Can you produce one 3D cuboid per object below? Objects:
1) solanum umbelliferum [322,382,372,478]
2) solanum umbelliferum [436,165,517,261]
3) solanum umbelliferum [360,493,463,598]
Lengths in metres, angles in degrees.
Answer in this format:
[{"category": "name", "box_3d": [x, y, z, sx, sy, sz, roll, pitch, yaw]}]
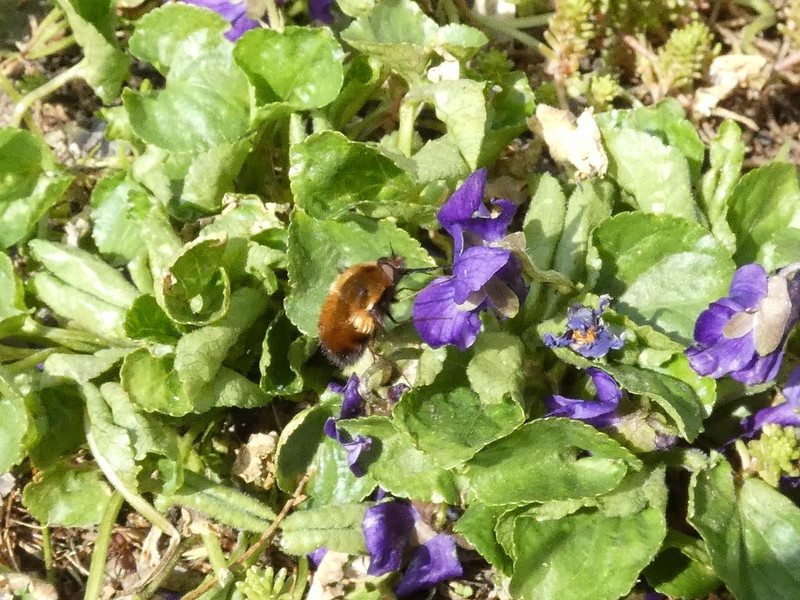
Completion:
[{"category": "solanum umbelliferum", "box_3d": [-0.117, 0.312, 2.153, 0.104, 0.239, 0.141, 14, 37, 18]}, {"category": "solanum umbelliferum", "box_3d": [0.163, -0.172, 1.948, 0.171, 0.225, 0.153, -35, 60, -3]}, {"category": "solanum umbelliferum", "box_3d": [0.024, 0.591, 2.161, 0.208, 0.255, 0.200, -27, 60, 1]}]
